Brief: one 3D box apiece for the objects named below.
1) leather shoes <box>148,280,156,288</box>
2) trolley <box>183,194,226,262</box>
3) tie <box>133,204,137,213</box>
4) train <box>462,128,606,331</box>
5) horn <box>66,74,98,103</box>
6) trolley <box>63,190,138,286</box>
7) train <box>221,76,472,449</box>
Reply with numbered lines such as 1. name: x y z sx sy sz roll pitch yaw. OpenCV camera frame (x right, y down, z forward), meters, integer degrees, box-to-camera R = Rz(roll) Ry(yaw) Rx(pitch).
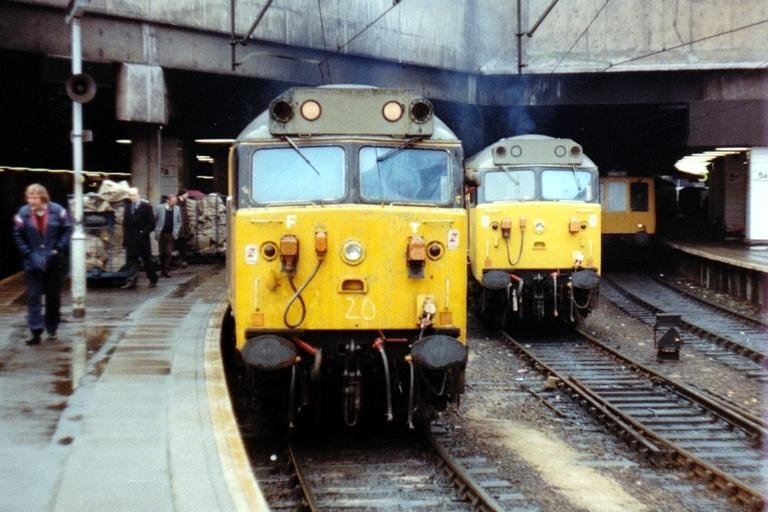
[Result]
1. leather shoes: -5.410 0.649 16.600 0.110 0.167 0.359 -1 5 -11
2. trolley: -5.798 -1.316 23.068 1.284 2.262 1.347 5 29 -12
3. tie: -5.602 -1.090 15.985 0.108 0.167 0.062 2 -23 -9
4. train: 3.320 -0.404 15.525 1.952 2.821 5.202 -1 2 0
5. horn: -5.870 -3.324 13.760 0.536 0.635 0.582 -2 -6 -26
6. trolley: -6.873 -0.532 16.738 1.013 1.892 1.676 -5 23 -30
7. train: -0.439 0.230 10.006 3.232 5.178 1.584 0 11 0
